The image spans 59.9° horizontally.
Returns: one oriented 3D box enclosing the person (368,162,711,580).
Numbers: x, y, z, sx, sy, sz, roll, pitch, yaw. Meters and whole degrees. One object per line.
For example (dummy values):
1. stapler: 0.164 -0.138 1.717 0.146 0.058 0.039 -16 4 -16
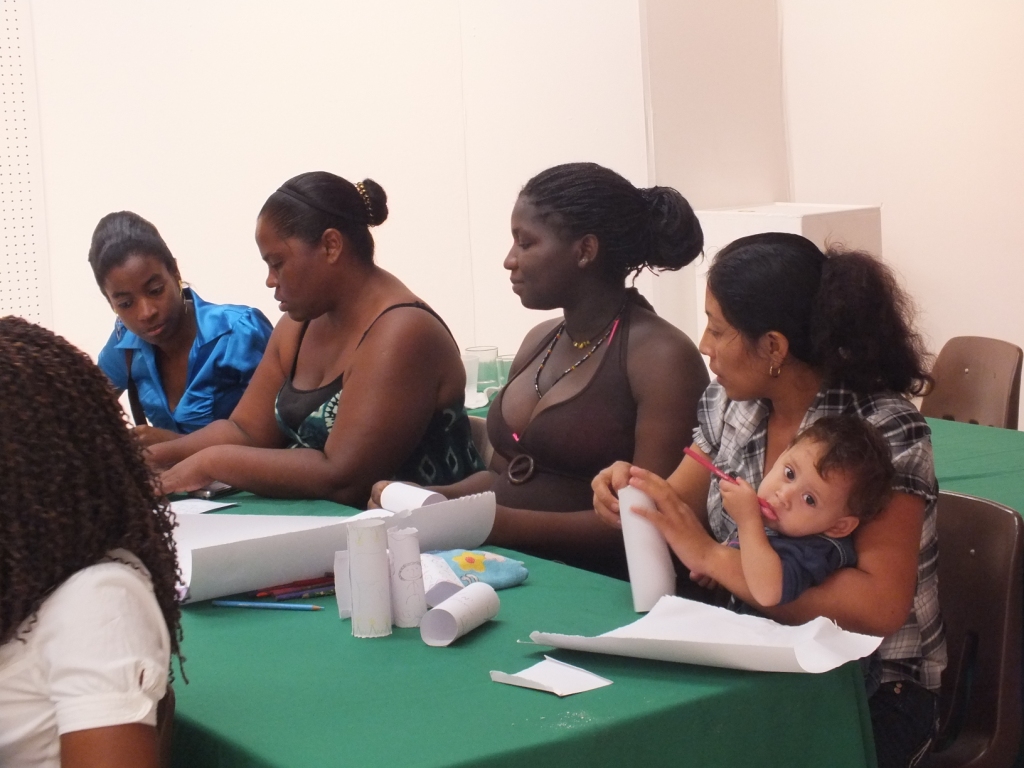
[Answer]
1. person: 0.092 -0.024 2.549 0.872 1.397 0.878 4 3 -5
